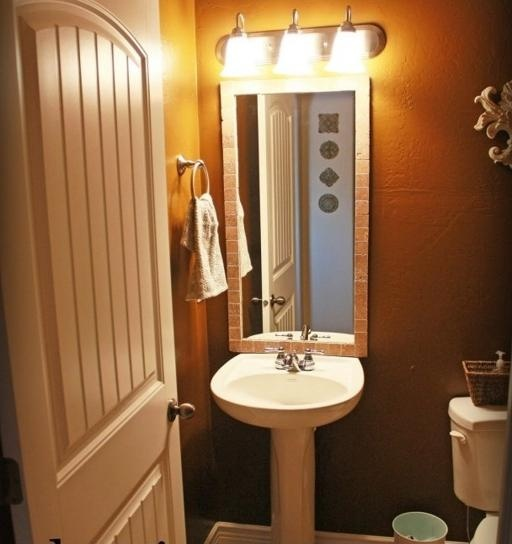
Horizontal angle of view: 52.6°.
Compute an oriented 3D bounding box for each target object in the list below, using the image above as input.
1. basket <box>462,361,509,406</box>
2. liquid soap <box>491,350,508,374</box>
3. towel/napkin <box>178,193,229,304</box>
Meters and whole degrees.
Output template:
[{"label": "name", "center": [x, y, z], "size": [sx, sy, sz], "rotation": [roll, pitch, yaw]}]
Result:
[{"label": "basket", "center": [0.859, 0.413, 1.922], "size": [0.114, 0.130, 0.179], "rotation": [-2, -9, 14]}, {"label": "liquid soap", "center": [0.910, 0.330, 1.916], "size": [0.057, 0.122, 0.060], "rotation": [-8, -15, 40]}, {"label": "towel/napkin", "center": [-0.192, -0.095, 1.851], "size": [0.132, 0.487, 0.340], "rotation": [-1, 7, 10]}]
